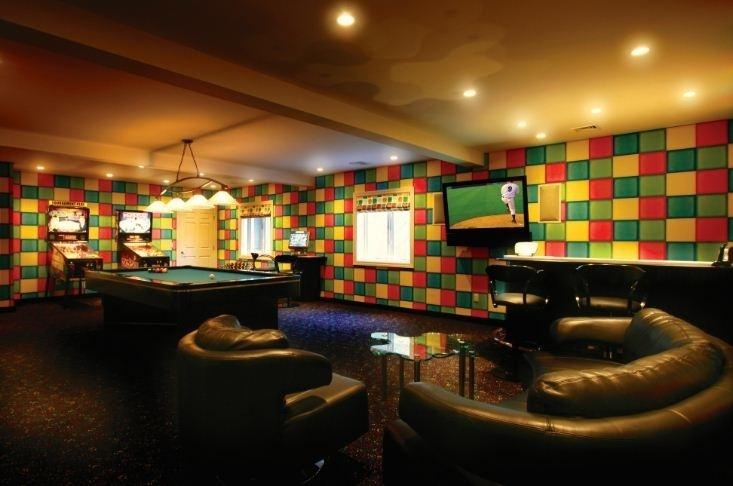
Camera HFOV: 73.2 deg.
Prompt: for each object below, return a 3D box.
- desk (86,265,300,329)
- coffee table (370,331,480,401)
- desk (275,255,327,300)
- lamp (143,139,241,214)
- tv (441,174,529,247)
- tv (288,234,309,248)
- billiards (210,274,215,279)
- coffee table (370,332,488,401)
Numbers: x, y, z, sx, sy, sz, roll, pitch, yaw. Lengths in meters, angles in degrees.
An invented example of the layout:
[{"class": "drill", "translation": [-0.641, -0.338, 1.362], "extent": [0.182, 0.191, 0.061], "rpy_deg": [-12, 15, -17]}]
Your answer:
[{"class": "desk", "translation": [-2.560, 0.825, 6.928], "extent": [1.938, 0.865, 2.866], "rpy_deg": [-2, 3, -42]}, {"class": "coffee table", "translation": [0.720, 1.434, 5.367], "extent": [1.409, 0.590, 1.006], "rpy_deg": [-10, -7, 16]}, {"class": "desk", "translation": [-1.254, 0.579, 10.273], "extent": [0.992, 1.068, 1.257], "rpy_deg": [0, 2, -38]}, {"class": "lamp", "translation": [-3.071, -1.203, 8.341], "extent": [1.883, 1.003, 1.658], "rpy_deg": [7, 0, -14]}, {"class": "tv", "translation": [1.906, -0.415, 7.973], "extent": [0.175, 1.225, 1.680], "rpy_deg": [-9, 6, -38]}, {"class": "tv", "translation": [-1.439, -0.081, 10.345], "extent": [0.493, 0.322, 0.104], "rpy_deg": [2, 2, 31]}, {"class": "billiards", "translation": [-2.081, 0.445, 6.656], "extent": [0.051, 0.050, 0.049], "rpy_deg": [-2, 9, -32]}, {"class": "coffee table", "translation": [0.633, 1.159, 5.318], "extent": [0.772, 0.424, 0.997], "rpy_deg": [-2, 4, -43]}]
